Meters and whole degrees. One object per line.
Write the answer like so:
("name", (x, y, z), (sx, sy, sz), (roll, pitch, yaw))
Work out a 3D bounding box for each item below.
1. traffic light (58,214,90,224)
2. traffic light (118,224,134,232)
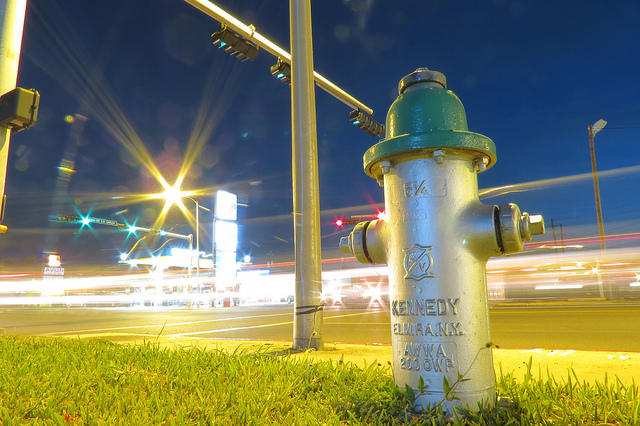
("traffic light", (-12.190, 0.363, 23.533), (1.566, 0.400, 0.506), (-5, -15, 10))
("traffic light", (-10.426, 0.803, 25.376), (1.081, 0.331, 0.435), (-6, -15, 14))
